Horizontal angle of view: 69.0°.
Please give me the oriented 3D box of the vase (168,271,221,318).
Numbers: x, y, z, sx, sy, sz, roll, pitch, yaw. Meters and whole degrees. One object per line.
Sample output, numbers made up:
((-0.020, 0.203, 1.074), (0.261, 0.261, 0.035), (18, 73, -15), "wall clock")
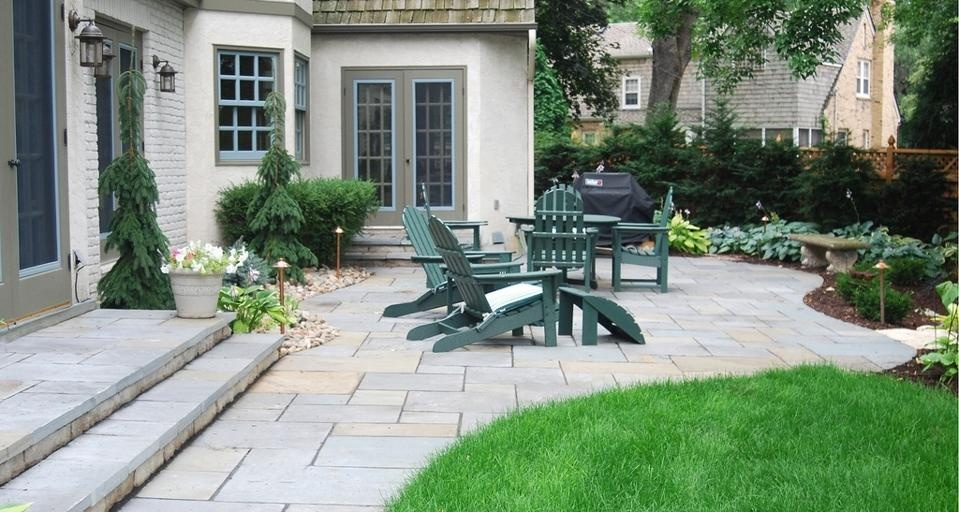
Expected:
((-3.287, 0.457, 8.173), (0.695, 0.474, 0.660), (-2, -5, 33), "vase")

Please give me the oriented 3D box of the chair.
((0.483, 0.355, 9.038), (2.882, 1.415, 1.568), (-3, 5, -12), "chair")

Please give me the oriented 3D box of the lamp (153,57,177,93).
((-5.075, -2.980, 11.307), (0.390, 0.555, 0.329), (10, 13, 14), "lamp")

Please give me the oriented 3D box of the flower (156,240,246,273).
((-3.238, 0.047, 8.098), (0.651, 0.327, 0.668), (2, 4, 14), "flower")

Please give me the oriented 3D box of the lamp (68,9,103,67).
((-4.646, -2.645, 8.320), (0.418, 0.587, 0.327), (7, 12, 0), "lamp")

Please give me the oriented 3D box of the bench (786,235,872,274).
((6.680, -0.030, 13.381), (0.800, 0.667, 1.501), (-1, 9, -4), "bench")
